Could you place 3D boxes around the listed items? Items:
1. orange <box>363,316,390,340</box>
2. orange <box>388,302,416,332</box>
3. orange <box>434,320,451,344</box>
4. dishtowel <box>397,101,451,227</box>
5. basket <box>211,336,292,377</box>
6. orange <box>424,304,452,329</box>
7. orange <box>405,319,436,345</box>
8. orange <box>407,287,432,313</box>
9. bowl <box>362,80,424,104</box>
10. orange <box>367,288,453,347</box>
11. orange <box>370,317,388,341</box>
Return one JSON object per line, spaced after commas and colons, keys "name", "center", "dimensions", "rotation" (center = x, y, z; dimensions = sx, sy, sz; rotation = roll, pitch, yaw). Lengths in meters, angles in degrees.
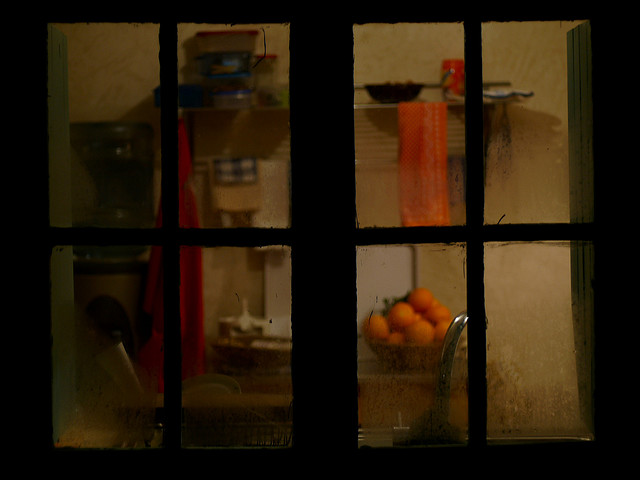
{"name": "orange", "center": [0.104, 0.167, 1.668], "dimensions": [0.040, 0.055, 0.044], "rotation": [5, -28, -8]}
{"name": "orange", "center": [0.155, 0.148, 1.692], "dimensions": [0.050, 0.066, 0.052], "rotation": [1, 5, -16]}
{"name": "orange", "center": [0.230, 0.172, 1.673], "dimensions": [0.035, 0.049, 0.038], "rotation": [2, 14, 5]}
{"name": "dishtowel", "center": [0.193, -0.143, 1.661], "dimensions": [0.102, 0.251, 0.024], "rotation": [-1, -11, 10]}
{"name": "basket", "center": [-0.133, 0.199, 1.695], "dimensions": [0.143, 0.084, 0.178], "rotation": [-1, 3, -30]}
{"name": "orange", "center": [0.226, 0.144, 1.673], "dimensions": [0.040, 0.052, 0.041], "rotation": [-1, -4, 45]}
{"name": "orange", "center": [0.191, 0.176, 1.673], "dimensions": [0.050, 0.049, 0.047], "rotation": [0, -13, -2]}
{"name": "orange", "center": [0.191, 0.111, 1.678], "dimensions": [0.043, 0.060, 0.046], "rotation": [-1, 9, -10]}
{"name": "bowl", "center": [0.138, -0.283, 1.667], "dimensions": [0.116, 0.045, 0.058], "rotation": [-1, 8, -2]}
{"name": "orange", "center": [0.198, 0.146, 1.691], "dimensions": [0.116, 0.115, 0.046], "rotation": [-4, -23, -27]}
{"name": "orange", "center": [0.111, 0.168, 1.666], "dimensions": [0.035, 0.049, 0.038], "rotation": [2, 5, 5]}
